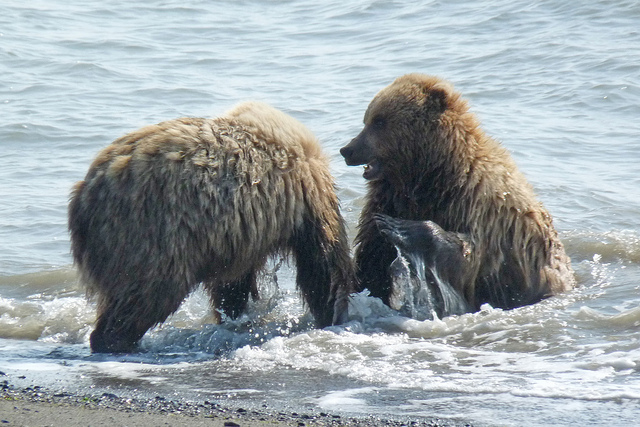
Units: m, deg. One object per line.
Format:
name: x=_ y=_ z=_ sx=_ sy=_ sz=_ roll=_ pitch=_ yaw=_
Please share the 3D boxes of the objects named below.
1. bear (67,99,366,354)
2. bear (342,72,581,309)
bear: x=-1.451 y=0.030 z=14.906 sx=5.587 sy=2.782 sz=2.504 roll=-5 pitch=3 yaw=-20
bear: x=1.869 y=-0.305 z=14.170 sx=2.939 sy=3.198 sz=1.195 roll=1 pitch=14 yaw=3
